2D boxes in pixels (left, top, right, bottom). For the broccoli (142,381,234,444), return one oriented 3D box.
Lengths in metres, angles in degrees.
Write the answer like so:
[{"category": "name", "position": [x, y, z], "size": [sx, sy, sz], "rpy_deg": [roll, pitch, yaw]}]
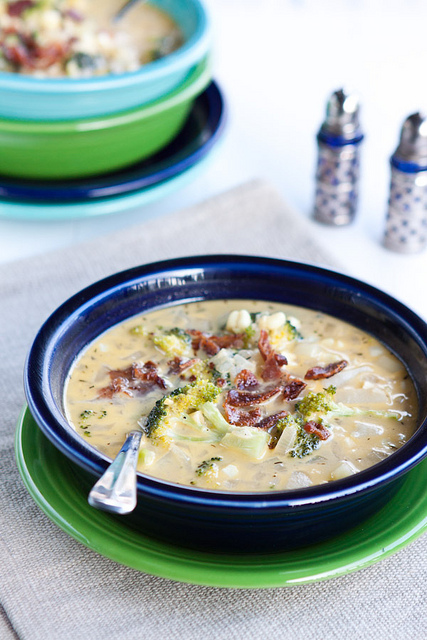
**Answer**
[{"category": "broccoli", "position": [-0.027, 0.105, 0.651], "size": [0.067, 0.021, 0.067], "rpy_deg": [19, 41, 19]}]
